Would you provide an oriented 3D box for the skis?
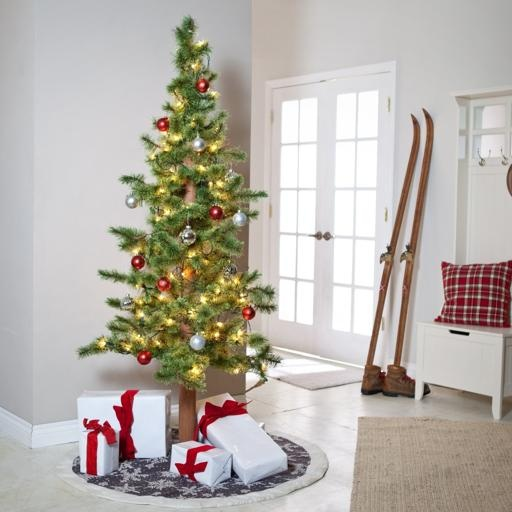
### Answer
[{"bbox_3d":[1.054,-0.042,4.108,0.213,2.018,0.172,3,15,-15],"label":"skis"}]

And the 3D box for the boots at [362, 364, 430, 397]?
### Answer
[{"bbox_3d":[0.868,0.785,3.689,0.540,0.238,0.180,0,0,-6],"label":"boots"}]

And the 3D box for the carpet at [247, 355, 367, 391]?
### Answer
[{"bbox_3d":[0.438,0.855,4.211,0.727,0.045,0.966,1,0,15],"label":"carpet"}]
